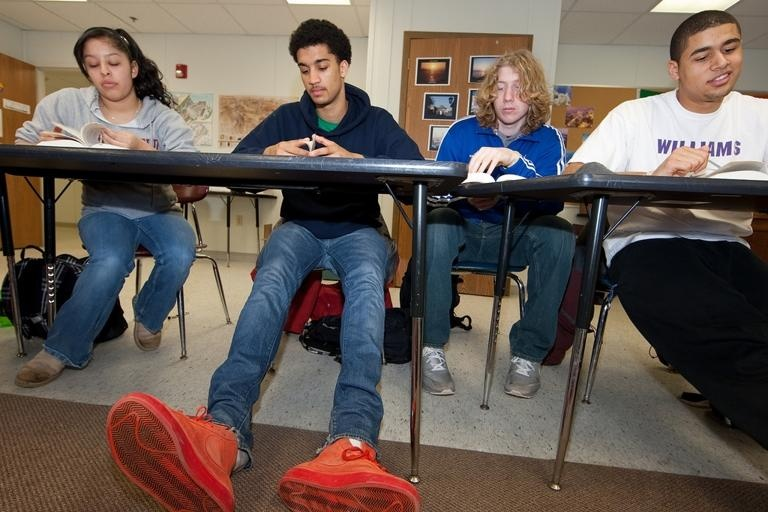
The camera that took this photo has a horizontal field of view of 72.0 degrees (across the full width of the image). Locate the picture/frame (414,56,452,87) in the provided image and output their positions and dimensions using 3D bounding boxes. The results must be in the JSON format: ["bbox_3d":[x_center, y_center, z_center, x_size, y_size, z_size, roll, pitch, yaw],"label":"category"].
[{"bbox_3d":[0.425,-1.561,4.453,0.261,0.183,0.009,1,3,9],"label":"picture/frame"}]

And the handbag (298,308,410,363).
[{"bbox_3d":[-0.130,0.394,2.779,0.428,0.153,0.310,0,0,7],"label":"handbag"}]

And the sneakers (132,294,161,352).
[{"bbox_3d":[-1.195,0.338,2.686,0.124,0.290,0.127,3,17,40],"label":"sneakers"}]

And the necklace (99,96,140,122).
[{"bbox_3d":[-1.293,-0.702,2.569,0.120,0.092,0.159,-2,-8,-7],"label":"necklace"}]

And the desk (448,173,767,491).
[{"bbox_3d":[0.810,0.232,2.074,1.087,1.123,0.654,4,14,7],"label":"desk"}]

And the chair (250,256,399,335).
[{"bbox_3d":[-0.362,0.181,2.939,0.443,0.203,0.562,-4,5,-40],"label":"chair"}]

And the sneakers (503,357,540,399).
[{"bbox_3d":[0.628,0.572,2.430,0.105,0.103,0.248,2,-1,20],"label":"sneakers"}]

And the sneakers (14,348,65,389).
[{"bbox_3d":[-1.504,0.496,2.302,0.106,0.106,0.226,2,-2,2],"label":"sneakers"}]

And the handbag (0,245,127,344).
[{"bbox_3d":[-1.535,0.197,2.518,0.482,0.442,0.258,3,-8,4],"label":"handbag"}]
